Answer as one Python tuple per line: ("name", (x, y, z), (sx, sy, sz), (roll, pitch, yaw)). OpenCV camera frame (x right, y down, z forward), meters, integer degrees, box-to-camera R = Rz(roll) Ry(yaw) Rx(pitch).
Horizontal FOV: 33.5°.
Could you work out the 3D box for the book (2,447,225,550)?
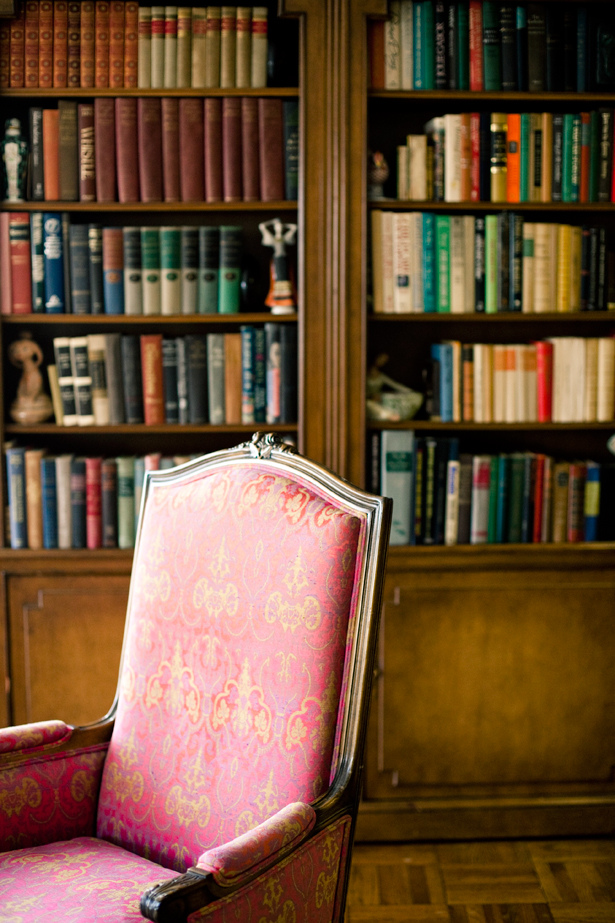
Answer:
("book", (-0.483, 0.085, 2.198), (0.395, 0.212, 0.179), (-1, -3, 2))
